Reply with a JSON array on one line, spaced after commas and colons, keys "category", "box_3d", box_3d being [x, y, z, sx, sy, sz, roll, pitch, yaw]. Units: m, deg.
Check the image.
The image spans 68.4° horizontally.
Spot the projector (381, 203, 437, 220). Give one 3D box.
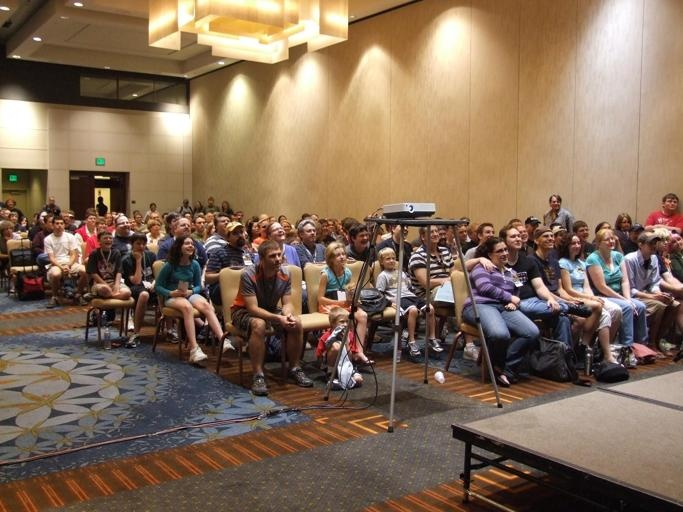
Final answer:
[{"category": "projector", "box_3d": [0.547, -0.348, 3.909, 0.222, 0.088, 0.201, -2, 3, -32]}]

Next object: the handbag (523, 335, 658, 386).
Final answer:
[{"category": "handbag", "box_3d": [2.246, 1.069, 4.901, 0.521, 0.302, 0.714, 2, -6, -34]}]

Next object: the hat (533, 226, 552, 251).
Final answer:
[{"category": "hat", "box_3d": [2.196, -0.204, 5.521, 0.190, 0.269, 0.235, -1, -2, -5]}]

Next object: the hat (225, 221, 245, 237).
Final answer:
[{"category": "hat", "box_3d": [-1.309, -0.333, 6.038, 0.151, 0.095, 0.237, -1, -9, -30]}]

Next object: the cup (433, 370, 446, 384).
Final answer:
[{"category": "cup", "box_3d": [0.957, 1.181, 4.860, 0.063, 0.118, 0.115, -2, 10, 2]}]

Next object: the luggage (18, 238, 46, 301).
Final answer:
[{"category": "luggage", "box_3d": [-5.572, 0.206, 9.056, 0.485, 1.103, 0.530, -2, 2, 35]}]

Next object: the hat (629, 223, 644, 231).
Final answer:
[{"category": "hat", "box_3d": [4.161, -0.381, 7.096, 0.129, 0.107, 0.186, 2, -3, 2]}]

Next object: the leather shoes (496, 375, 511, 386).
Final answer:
[{"category": "leather shoes", "box_3d": [1.536, 1.185, 4.727, 0.064, 0.073, 0.142, -35, -1, 7]}]

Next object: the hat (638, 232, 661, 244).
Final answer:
[{"category": "hat", "box_3d": [3.681, -0.214, 5.966, 0.121, 0.103, 0.166, -3, -6, -26]}]

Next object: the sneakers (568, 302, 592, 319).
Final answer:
[{"category": "sneakers", "box_3d": [2.477, 0.580, 5.294, 0.285, 0.136, 0.110, 1, -1, 22]}]
